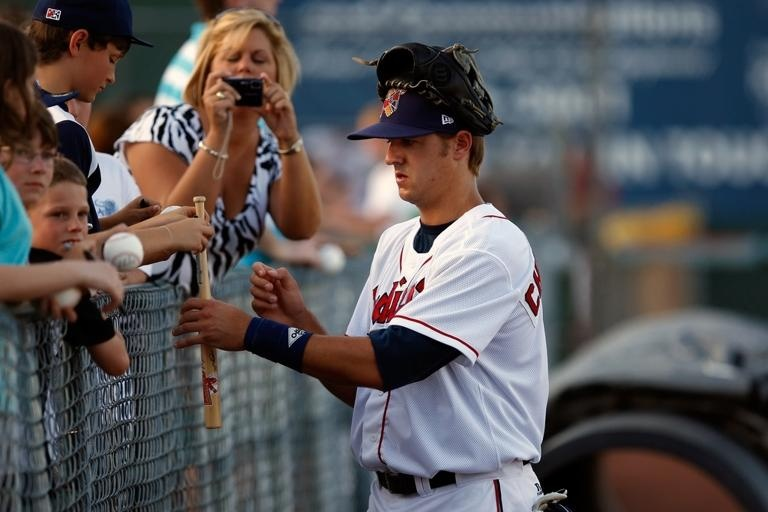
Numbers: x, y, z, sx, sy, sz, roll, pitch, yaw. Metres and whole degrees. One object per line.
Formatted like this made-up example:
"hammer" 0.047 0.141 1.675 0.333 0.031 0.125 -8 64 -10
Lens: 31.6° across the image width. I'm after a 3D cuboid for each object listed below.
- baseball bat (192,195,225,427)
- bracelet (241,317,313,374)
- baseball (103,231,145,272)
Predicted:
"baseball bat" -0.970 0.329 7.372 0.123 1.316 0.132 -4 1 21
"bracelet" -0.569 0.468 7.209 0.362 0.282 0.095 1 -3 -8
"baseball" -1.312 -0.027 6.908 0.176 0.191 0.182 27 0 -6
